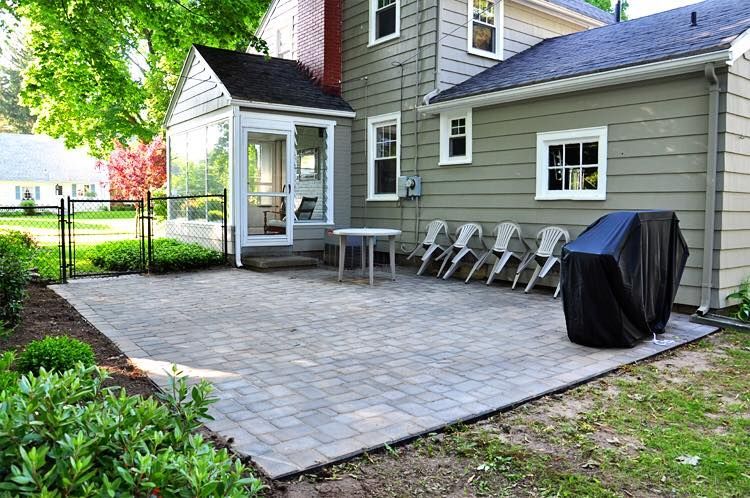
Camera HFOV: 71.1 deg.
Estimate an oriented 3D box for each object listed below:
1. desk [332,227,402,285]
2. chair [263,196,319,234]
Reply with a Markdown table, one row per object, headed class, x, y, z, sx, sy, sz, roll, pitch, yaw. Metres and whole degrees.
| class | x | y | z | sx | sy | sz | roll | pitch | yaw |
| --- | --- | --- | --- | --- | --- | --- | --- | --- | --- |
| desk | -0.478 | 0.102 | 10.831 | 1.271 | 0.758 | 1.190 | 0 | 7 | 18 |
| chair | -2.372 | -0.818 | 13.533 | 1.159 | 0.774 | 0.688 | -3 | 3 | -12 |
